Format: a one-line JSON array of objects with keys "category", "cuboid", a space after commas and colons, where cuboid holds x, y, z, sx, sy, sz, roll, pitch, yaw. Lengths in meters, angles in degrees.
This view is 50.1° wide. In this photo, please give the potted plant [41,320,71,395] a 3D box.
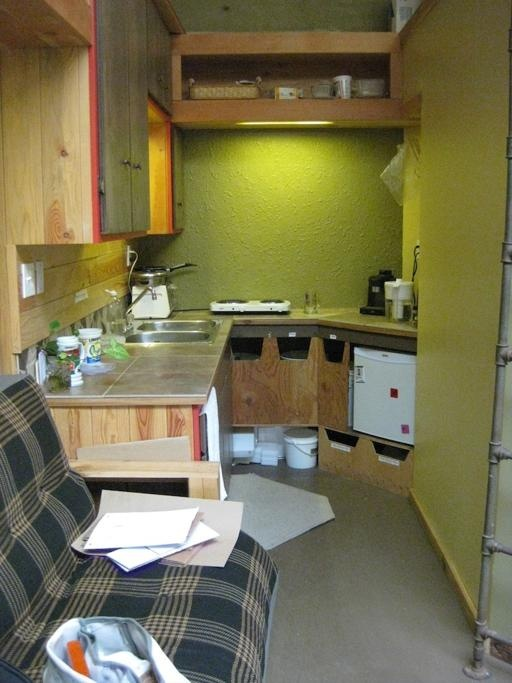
[{"category": "potted plant", "cuboid": [-0.729, 0.045, 2.017, 0.148, 0.293, 0.106, -1, -5, 5]}]

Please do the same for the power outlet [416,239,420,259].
[{"category": "power outlet", "cuboid": [0.962, -0.546, 3.268, 0.019, 0.111, 0.212, 2, 8, 19]}]

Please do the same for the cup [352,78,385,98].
[{"category": "cup", "cuboid": [0.716, -1.572, 3.478, 0.211, 0.141, 0.151, 1, 23, 7]}]

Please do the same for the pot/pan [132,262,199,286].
[{"category": "pot/pan", "cuboid": [-0.608, -0.450, 3.623, 0.336, 0.116, 0.205, -5, 8, -23]}]

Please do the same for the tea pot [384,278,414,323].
[{"category": "tea pot", "cuboid": [0.846, -0.244, 3.271, 0.233, 0.245, 0.165, 5, 9, 38]}]

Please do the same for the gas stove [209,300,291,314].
[{"category": "gas stove", "cuboid": [-0.046, -0.233, 3.807, 0.525, 0.085, 0.273, -1, 8, -4]}]

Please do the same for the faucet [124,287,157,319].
[{"category": "faucet", "cuboid": [-0.756, -0.259, 3.424, 0.138, 0.167, 0.271, 0, 7, 7]}]

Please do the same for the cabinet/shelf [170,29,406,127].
[{"category": "cabinet/shelf", "cuboid": [0.206, -1.654, 3.514, 1.455, 0.553, 0.518, 0, 7, 7]}]

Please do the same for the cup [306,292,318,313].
[{"category": "cup", "cuboid": [0.390, -0.282, 3.907, 0.087, 0.136, 0.232, 0, 7, 4]}]

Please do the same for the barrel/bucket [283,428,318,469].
[{"category": "barrel/bucket", "cuboid": [0.293, 0.714, 3.657, 0.223, 0.192, 0.224, -1, 6, 0]}]

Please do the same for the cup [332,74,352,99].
[{"category": "cup", "cuboid": [0.519, -1.558, 3.426, 0.147, 0.171, 0.171, 2, 11, 7]}]

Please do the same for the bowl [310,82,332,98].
[{"category": "bowl", "cuboid": [0.398, -1.557, 3.373, 0.129, 0.111, 0.096, 5, 27, 11]}]

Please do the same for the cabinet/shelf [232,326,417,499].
[{"category": "cabinet/shelf", "cuboid": [0.456, 0.353, 3.658, 1.277, 0.998, 0.589, 2, 10, 23]}]
